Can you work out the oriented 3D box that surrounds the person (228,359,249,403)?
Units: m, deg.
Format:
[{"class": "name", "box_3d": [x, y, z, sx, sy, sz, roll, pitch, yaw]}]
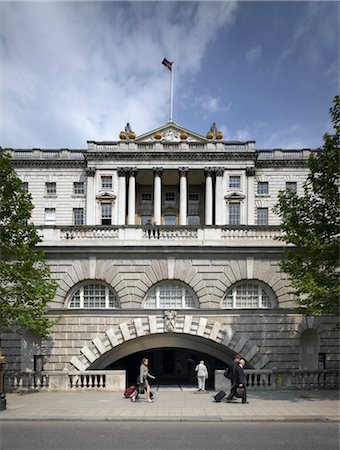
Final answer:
[{"class": "person", "box_3d": [2.707, 6.415, 32.641, 0.816, 1.636, 0.581, -4, -10, 22]}]

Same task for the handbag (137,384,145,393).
[{"class": "handbag", "box_3d": [-1.190, 6.713, 33.072, 0.348, 0.495, 0.208, 2, 6, -4]}]

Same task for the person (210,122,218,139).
[{"class": "person", "box_3d": [3.457, -7.397, 64.191, 0.483, 1.370, 1.508, 0, -10, 3]}]

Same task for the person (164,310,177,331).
[{"class": "person", "box_3d": [0.005, 4.557, 38.081, 0.719, 1.316, 0.414, 2, -25, -3]}]
